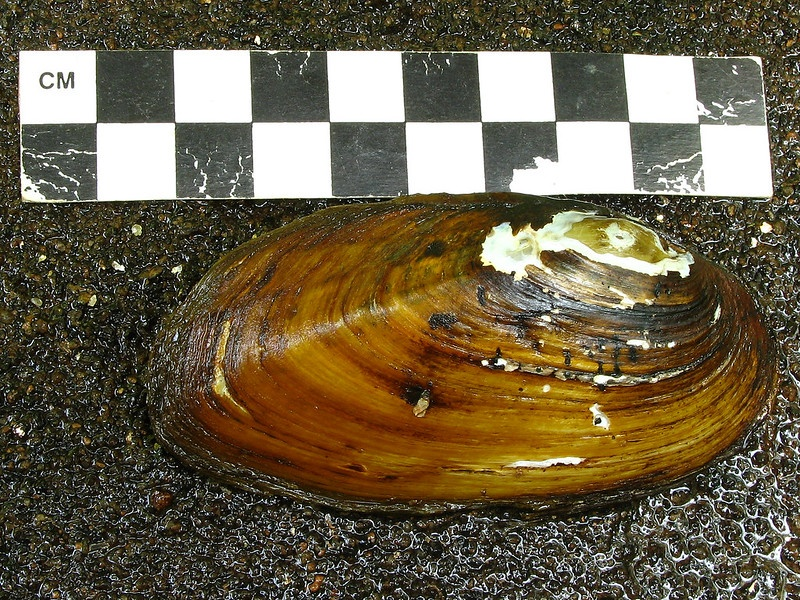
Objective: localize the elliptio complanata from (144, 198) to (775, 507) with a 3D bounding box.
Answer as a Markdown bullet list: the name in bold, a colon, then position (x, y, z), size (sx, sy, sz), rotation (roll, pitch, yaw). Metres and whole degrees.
- **elliptio complanata**: position (0.137, 0.136, 2.579), size (1.483, 0.214, 0.730), rotation (1, 86, 1)

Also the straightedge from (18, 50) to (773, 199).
- **straightedge**: position (-0.027, -0.440, 2.657), size (1.846, 0.026, 0.384), rotation (0, 83, -6)
